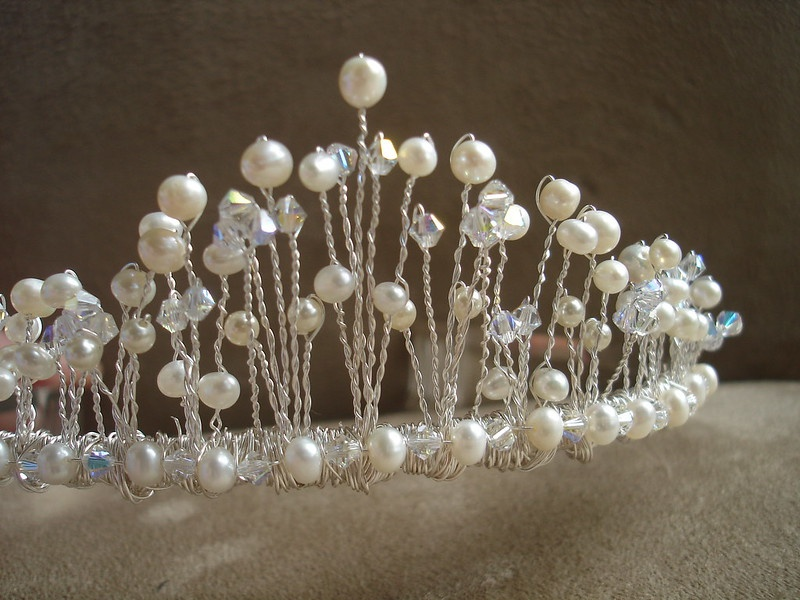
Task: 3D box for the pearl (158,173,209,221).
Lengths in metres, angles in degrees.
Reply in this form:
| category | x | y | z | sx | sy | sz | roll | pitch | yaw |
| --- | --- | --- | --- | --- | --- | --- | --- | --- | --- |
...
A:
| category | x | y | z | sx | sy | sz | roll | pitch | yaw |
| --- | --- | --- | --- | --- | --- | --- | --- | --- | --- |
| pearl | -0.340 | -0.164 | 1.491 | 0.071 | 0.082 | 0.094 | -5 | -7 | 4 |

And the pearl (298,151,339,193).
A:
| category | x | y | z | sx | sy | sz | roll | pitch | yaw |
| --- | --- | --- | --- | --- | --- | --- | --- | --- | --- |
| pearl | -0.128 | -0.201 | 1.477 | 0.067 | 0.079 | 0.065 | 3 | -1 | -3 |

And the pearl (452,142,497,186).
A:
| category | x | y | z | sx | sy | sz | roll | pitch | yaw |
| --- | --- | --- | --- | --- | --- | --- | --- | --- | --- |
| pearl | 0.129 | -0.223 | 1.535 | 0.060 | 0.070 | 0.092 | -8 | -8 | 26 |

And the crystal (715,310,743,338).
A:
| category | x | y | z | sx | sy | sz | roll | pitch | yaw |
| --- | --- | --- | --- | --- | --- | --- | --- | --- | --- |
| crystal | 0.663 | 0.044 | 1.865 | 0.053 | 0.054 | 0.026 | 8 | -5 | -9 |

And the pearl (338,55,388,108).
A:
| category | x | y | z | sx | sy | sz | roll | pitch | yaw |
| --- | --- | --- | --- | --- | --- | --- | --- | --- | --- |
| pearl | -0.063 | -0.352 | 1.510 | 0.075 | 0.098 | 0.072 | -2 | -7 | -21 |

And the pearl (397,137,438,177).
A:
| category | x | y | z | sx | sy | sz | roll | pitch | yaw |
| --- | --- | --- | --- | --- | --- | --- | --- | --- | --- |
| pearl | 0.028 | -0.230 | 1.529 | 0.060 | 0.068 | 0.064 | -5 | -7 | 0 |
